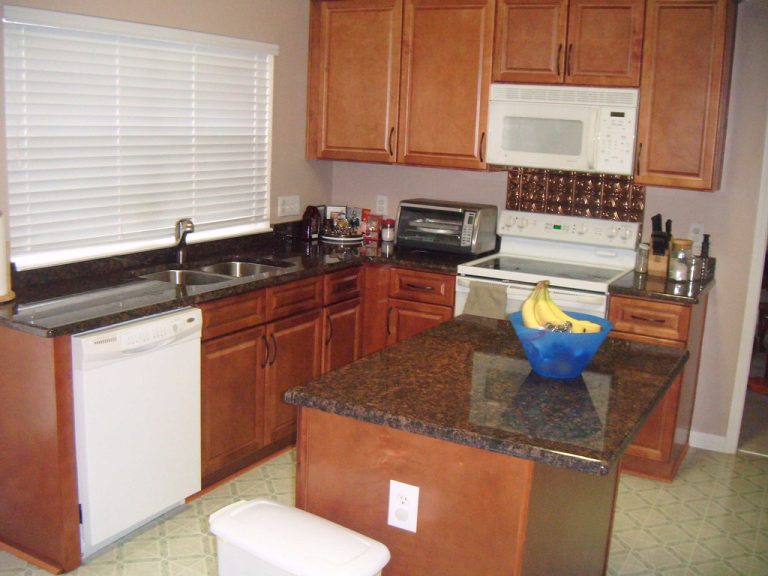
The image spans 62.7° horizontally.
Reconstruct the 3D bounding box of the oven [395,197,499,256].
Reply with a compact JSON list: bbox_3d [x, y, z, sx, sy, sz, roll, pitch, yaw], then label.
[{"bbox_3d":[0.426,-0.529,4.125,0.557,0.351,0.383,7,10,29],"label":"oven"}]

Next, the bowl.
[{"bbox_3d":[0.603,0.202,2.166,0.332,0.177,0.328,1,9,0],"label":"bowl"}]

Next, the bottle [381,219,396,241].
[{"bbox_3d":[0.031,-0.408,4.484,0.094,0.144,0.123,1,14,-3],"label":"bottle"}]

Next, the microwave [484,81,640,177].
[{"bbox_3d":[1.065,-0.915,3.997,0.885,0.539,0.550,4,-6,1],"label":"microwave"}]

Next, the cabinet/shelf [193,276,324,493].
[{"bbox_3d":[-0.799,0.432,3.543,0.448,0.999,1.048,8,11,28],"label":"cabinet/shelf"}]

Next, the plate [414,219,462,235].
[{"bbox_3d":[0.344,-0.395,4.095,0.343,0.084,0.032,11,16,30],"label":"plate"}]

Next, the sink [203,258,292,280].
[{"bbox_3d":[-0.836,-0.120,3.691,0.209,0.099,0.259,16,18,38],"label":"sink"}]

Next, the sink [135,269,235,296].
[{"bbox_3d":[-1.093,-0.054,3.411,0.189,0.094,0.289,12,13,35],"label":"sink"}]

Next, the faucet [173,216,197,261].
[{"bbox_3d":[-1.126,-0.273,3.545,0.135,0.376,0.078,1,33,-12],"label":"faucet"}]

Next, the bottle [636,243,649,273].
[{"bbox_3d":[1.542,-0.180,3.766,0.068,0.173,0.093,-11,19,-44],"label":"bottle"}]
